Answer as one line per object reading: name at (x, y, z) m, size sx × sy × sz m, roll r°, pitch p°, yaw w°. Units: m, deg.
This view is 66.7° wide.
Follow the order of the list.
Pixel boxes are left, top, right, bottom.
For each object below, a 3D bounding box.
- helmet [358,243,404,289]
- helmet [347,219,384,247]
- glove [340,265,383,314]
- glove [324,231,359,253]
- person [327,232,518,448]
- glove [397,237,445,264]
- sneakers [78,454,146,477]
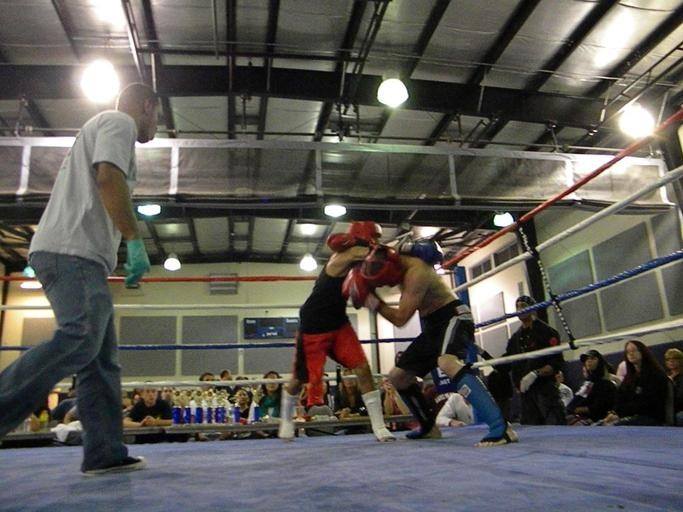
helmet at (0.212, 0.064, 2.907) m, size 0.287 × 0.177 × 0.223 m, roll -23°, pitch -40°, yaw 19°
helmet at (0.154, -0.147, 3.557) m, size 0.234 × 0.167 × 0.080 m, roll 11°, pitch -18°, yaw -4°
glove at (0.099, 0.188, 3.001) m, size 0.235 × 0.192 × 0.265 m, roll 19°, pitch -23°, yaw 18°
glove at (-0.014, -0.090, 3.540) m, size 0.151 × 0.070 × 0.189 m, roll -10°, pitch 1°, yaw -30°
person at (0.397, 0.491, 3.005) m, size 0.696 × 1.105 × 0.724 m, roll 0°, pitch -20°, yaw -17°
glove at (0.457, -0.037, 2.955) m, size 0.245 × 0.078 × 0.145 m, roll 9°, pitch 7°, yaw -4°
sneakers at (-0.935, 0.840, 2.104) m, size 0.234 × 0.059 × 0.072 m, roll 0°, pitch -10°, yaw -18°
